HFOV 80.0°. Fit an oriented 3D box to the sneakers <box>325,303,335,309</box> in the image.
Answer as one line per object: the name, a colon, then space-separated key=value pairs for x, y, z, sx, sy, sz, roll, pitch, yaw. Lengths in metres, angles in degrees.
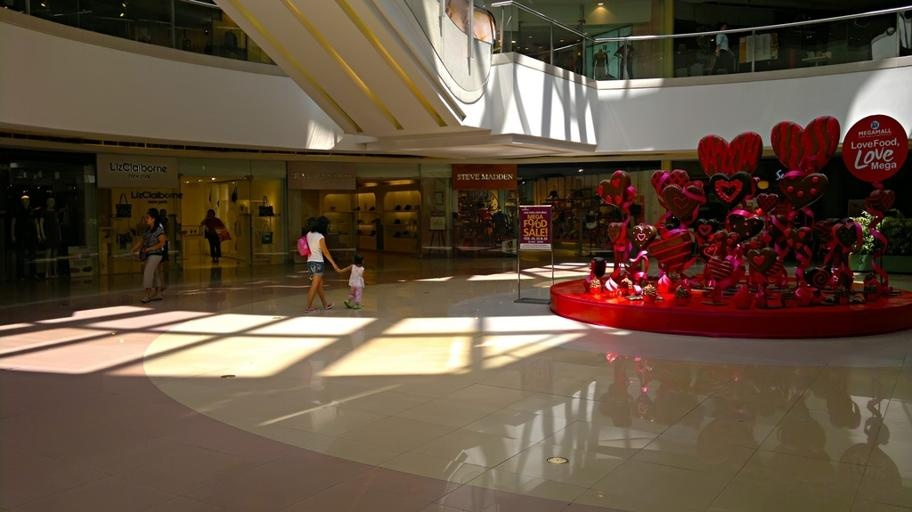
sneakers: x=-3.292 y=1.317 z=14.227 sx=0.122 sy=0.088 sz=0.231 roll=4 pitch=7 yaw=18

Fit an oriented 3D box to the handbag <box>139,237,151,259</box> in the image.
handbag: x=-8.647 y=-0.217 z=15.168 sx=0.277 sy=0.675 sz=0.490 roll=-1 pitch=19 yaw=-28

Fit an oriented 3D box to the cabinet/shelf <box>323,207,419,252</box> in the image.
cabinet/shelf: x=-3.859 y=-1.297 z=27.161 sx=5.478 sy=2.066 sz=0.788 roll=10 pitch=3 yaw=25

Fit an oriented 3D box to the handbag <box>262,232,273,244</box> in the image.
handbag: x=-7.657 y=-0.767 z=22.039 sx=0.436 sy=0.403 sz=0.250 roll=2 pitch=15 yaw=-4

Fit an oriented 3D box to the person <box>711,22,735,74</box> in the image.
person: x=9.117 y=-6.963 z=18.538 sx=0.707 sy=1.395 sz=0.304 roll=3 pitch=15 yaw=18

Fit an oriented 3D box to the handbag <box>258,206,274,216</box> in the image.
handbag: x=-7.568 y=-1.796 z=21.750 sx=0.713 sy=0.482 sz=0.376 roll=-1 pitch=13 yaw=-27

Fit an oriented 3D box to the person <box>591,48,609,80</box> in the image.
person: x=5.087 y=-6.784 z=19.186 sx=0.636 sy=1.027 sz=0.178 roll=-8 pitch=16 yaw=-25

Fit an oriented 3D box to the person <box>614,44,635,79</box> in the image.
person: x=5.951 y=-6.889 z=19.241 sx=0.612 sy=1.161 sz=0.248 roll=3 pitch=15 yaw=16
